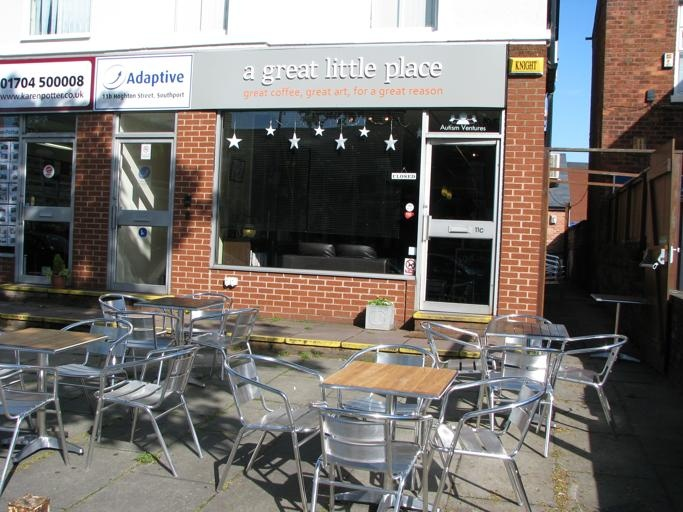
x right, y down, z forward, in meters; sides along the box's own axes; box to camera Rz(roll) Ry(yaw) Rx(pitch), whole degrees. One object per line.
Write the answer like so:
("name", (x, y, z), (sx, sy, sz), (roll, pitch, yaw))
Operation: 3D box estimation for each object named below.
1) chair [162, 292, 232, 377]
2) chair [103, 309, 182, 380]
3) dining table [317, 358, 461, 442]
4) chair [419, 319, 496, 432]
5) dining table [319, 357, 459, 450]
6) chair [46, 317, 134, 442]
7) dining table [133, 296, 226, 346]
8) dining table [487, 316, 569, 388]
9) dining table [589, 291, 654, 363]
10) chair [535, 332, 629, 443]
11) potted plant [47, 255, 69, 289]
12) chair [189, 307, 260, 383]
("chair", (-1.911, 0.980, 7.780), (1.023, 1.230, 0.969), (2, 4, 10))
("chair", (-2.028, 0.966, 6.365), (0.613, 0.677, 0.583), (-4, -3, -28))
("dining table", (0.356, 1.161, 4.628), (1.066, 0.504, 0.957), (2, 2, 0))
("chair", (1.378, 1.118, 6.976), (1.081, 1.335, 1.001), (-2, 7, 9))
("dining table", (0.391, 1.023, 4.428), (0.602, 0.524, 0.571), (4, 17, 14))
("chair", (-2.339, 1.006, 5.515), (0.752, 0.786, 0.638), (2, -3, 21))
("dining table", (-1.999, 0.618, 7.175), (0.892, 0.776, 0.860), (1, 0, 23))
("dining table", (1.833, 0.942, 6.017), (0.939, 0.763, 1.264), (2, 0, 21))
("dining table", (4.054, 1.082, 8.654), (0.909, 0.805, 0.799), (0, -3, 26))
("chair", (2.473, 1.252, 6.036), (0.756, 0.792, 0.687), (6, -2, 5))
("potted plant", (-5.039, 0.278, 10.577), (0.408, 0.524, 0.361), (3, 7, 27))
("chair", (-1.381, 1.015, 6.881), (0.763, 0.891, 0.722), (6, 4, 12))
